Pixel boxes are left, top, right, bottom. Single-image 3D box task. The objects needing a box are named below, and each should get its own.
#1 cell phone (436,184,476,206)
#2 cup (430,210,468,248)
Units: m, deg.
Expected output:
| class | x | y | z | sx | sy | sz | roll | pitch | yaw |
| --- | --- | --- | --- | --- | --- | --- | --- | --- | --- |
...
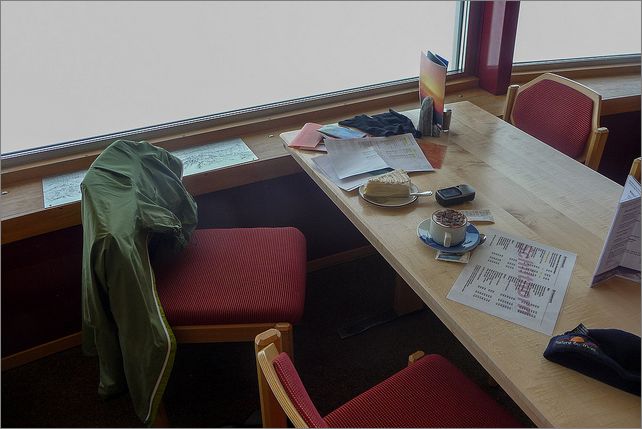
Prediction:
| class | x | y | z | sx | sy | sz | roll | pitch | yaw |
| --- | --- | --- | --- | --- | --- | --- | --- | --- | --- |
| cell phone | 0.547 | -0.081 | 1.653 | 0.144 | 0.048 | 0.076 | -11 | 43 | -10 |
| cup | 0.467 | 0.060 | 1.478 | 0.131 | 0.094 | 0.167 | 6 | 34 | 13 |
